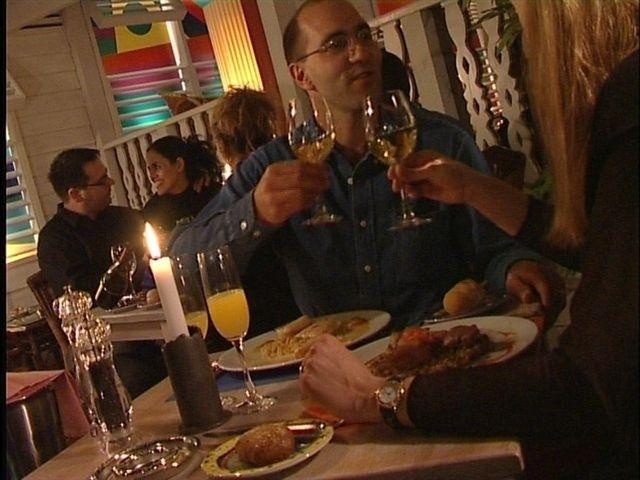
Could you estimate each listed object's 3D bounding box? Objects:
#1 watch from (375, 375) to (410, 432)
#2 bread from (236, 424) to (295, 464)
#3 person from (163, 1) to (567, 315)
[{"bbox_3d":[0.103,0.235,0.724,0.044,0.072,0.067,-2,-21,24],"label":"watch"},{"bbox_3d":[-0.076,0.279,0.702,0.052,0.022,0.054,-9,6,-18],"label":"bread"},{"bbox_3d":[0.134,-0.191,1.211,0.689,0.920,0.498,-15,-7,1],"label":"person"}]
